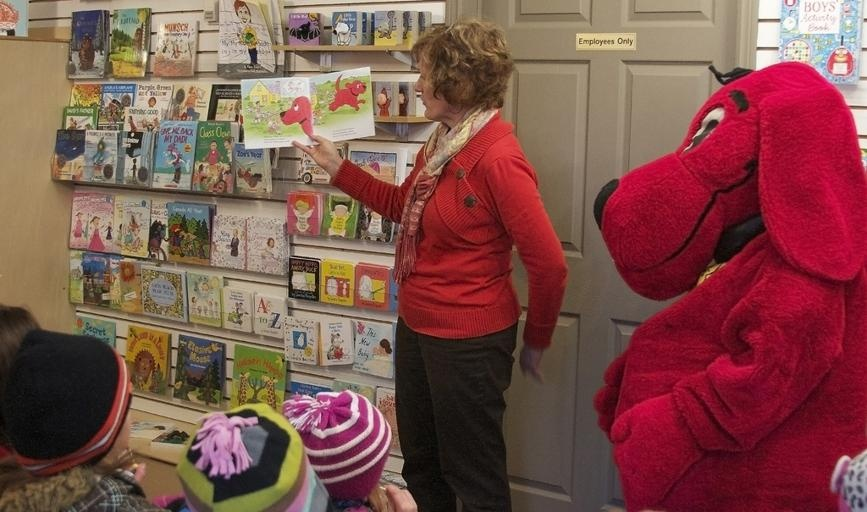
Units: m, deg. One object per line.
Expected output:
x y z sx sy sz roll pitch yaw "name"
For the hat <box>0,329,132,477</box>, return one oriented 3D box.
-1.129 0.442 1.899 0.331 0.421 0.187 -7 11 -35 "hat"
